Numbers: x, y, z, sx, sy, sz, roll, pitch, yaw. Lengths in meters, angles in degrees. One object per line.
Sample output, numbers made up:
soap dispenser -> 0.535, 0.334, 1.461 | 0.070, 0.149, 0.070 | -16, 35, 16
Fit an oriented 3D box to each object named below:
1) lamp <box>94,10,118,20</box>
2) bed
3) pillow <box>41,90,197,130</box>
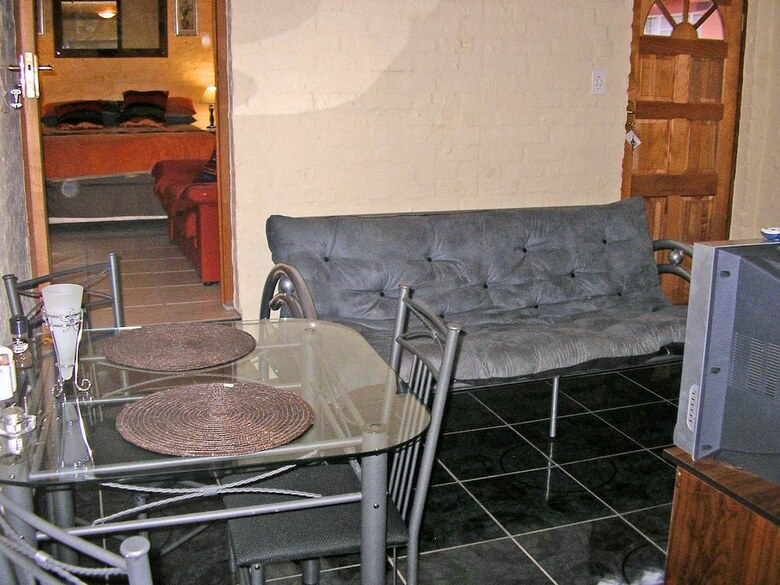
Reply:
lamp -> -3.076, -2.998, 7.237 | 0.194, 0.094, 0.038 | -5, 13, -2
bed -> -2.695, -1.205, 6.601 | 1.565, 0.877, 1.426 | -7, 16, -24
pillow -> -3.005, -2.031, 7.193 | 1.751, 0.568, 0.247 | -5, -10, -19
